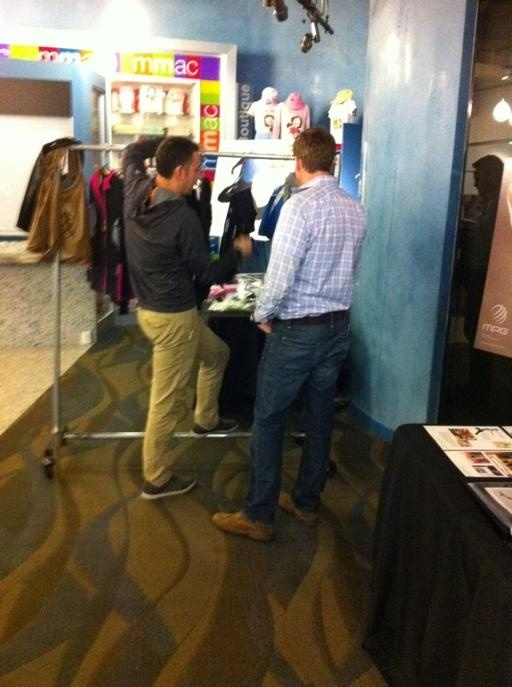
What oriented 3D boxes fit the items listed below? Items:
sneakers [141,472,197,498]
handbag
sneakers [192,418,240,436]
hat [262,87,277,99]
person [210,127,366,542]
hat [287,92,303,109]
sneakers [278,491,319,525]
[{"bbox_3d":[-0.415,0.650,2.405,0.250,0.110,0.095,-4,4,-33],"label":"sneakers"},{"bbox_3d":[-0.960,-0.682,2.413,0.372,0.583,0.173,4,10,15],"label":"handbag"},{"bbox_3d":[-0.235,0.461,2.958,0.263,0.109,0.098,-5,10,-29],"label":"sneakers"},{"bbox_3d":[0.172,-3.078,6.183,0.104,0.200,0.186,12,15,-16],"label":"hat"},{"bbox_3d":[0.133,0.012,1.912,0.518,1.598,0.389,0,10,-6],"label":"person"},{"bbox_3d":[0.478,-2.967,6.116,0.162,0.224,0.072,-1,7,-11],"label":"hat"},{"bbox_3d":[0.188,0.728,2.183,0.069,0.088,0.216,-6,14,-22],"label":"sneakers"}]
